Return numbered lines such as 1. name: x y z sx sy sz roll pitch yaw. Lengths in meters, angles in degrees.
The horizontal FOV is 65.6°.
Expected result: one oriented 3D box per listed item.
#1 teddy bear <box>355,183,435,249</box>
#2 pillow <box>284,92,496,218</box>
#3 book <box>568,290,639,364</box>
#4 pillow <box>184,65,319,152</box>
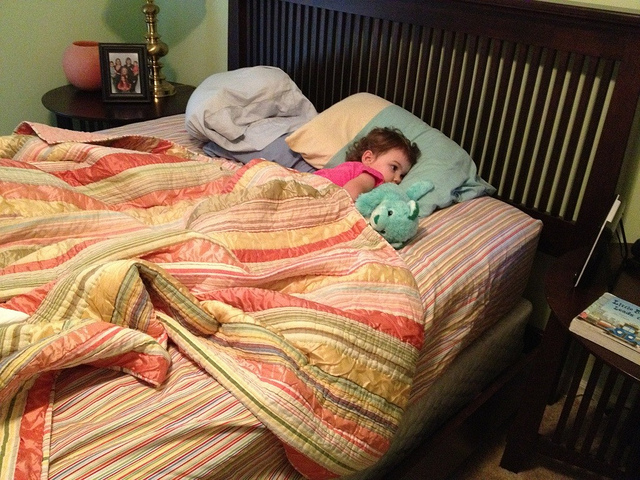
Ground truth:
1. teddy bear: 0.253 -0.116 1.539 0.221 0.106 0.204 -26 46 -33
2. pillow: 0.257 -0.359 1.878 0.538 0.169 0.613 -37 68 -27
3. book: 0.754 0.219 1.270 0.167 0.056 0.168 29 37 35
4. pillow: -0.299 -0.554 2.101 0.445 0.155 0.440 -22 50 -23
